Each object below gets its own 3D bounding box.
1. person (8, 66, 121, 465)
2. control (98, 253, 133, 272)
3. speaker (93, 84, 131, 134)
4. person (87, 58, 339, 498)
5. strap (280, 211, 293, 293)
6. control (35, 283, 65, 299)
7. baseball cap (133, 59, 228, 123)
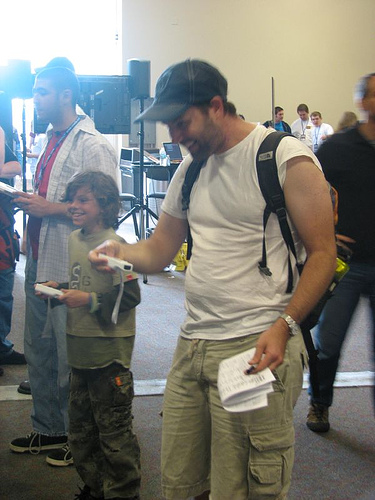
[{"bbox_3d":[-0.526,0.347,2.064,0.519,1.613,0.480,-5,21,-21],"label":"person"},{"bbox_3d":[-0.182,0.023,1.135,0.072,0.021,0.042,22,11,26],"label":"control"},{"bbox_3d":[-0.807,-1.515,4.748,0.390,0.508,0.218,0,8,-7],"label":"speaker"},{"bbox_3d":[0.064,0.146,1.075,0.376,1.167,0.593,-5,10,-38],"label":"person"},{"bbox_3d":[0.217,0.007,0.968,0.017,0.185,0.051,7,10,36],"label":"strap"},{"bbox_3d":[-0.451,0.139,1.456,0.095,0.054,0.059,0,8,-8],"label":"control"},{"bbox_3d":[-0.017,-0.373,1.025,0.260,0.136,0.165,-22,30,-26],"label":"baseball cap"}]
